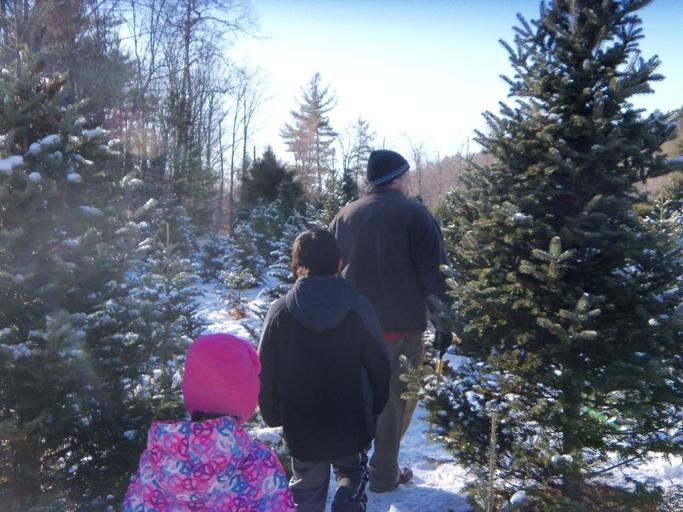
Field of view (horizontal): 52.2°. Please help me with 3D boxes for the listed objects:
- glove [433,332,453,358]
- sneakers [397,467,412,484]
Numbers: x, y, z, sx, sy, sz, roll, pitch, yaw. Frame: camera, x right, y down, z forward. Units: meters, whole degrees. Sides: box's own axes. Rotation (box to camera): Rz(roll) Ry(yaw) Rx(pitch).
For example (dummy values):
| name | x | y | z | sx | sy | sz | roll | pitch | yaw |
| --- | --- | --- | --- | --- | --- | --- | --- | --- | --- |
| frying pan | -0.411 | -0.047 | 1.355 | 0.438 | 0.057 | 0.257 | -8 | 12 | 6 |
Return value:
| name | x | y | z | sx | sy | sz | roll | pitch | yaw |
| --- | --- | --- | --- | --- | --- | --- | --- | --- | --- |
| glove | 1.024 | 0.892 | 7.123 | 0.178 | 0.218 | 0.358 | 8 | 6 | 28 |
| sneakers | 0.712 | 2.478 | 7.791 | 0.168 | 0.206 | 0.182 | 1 | -17 | 13 |
